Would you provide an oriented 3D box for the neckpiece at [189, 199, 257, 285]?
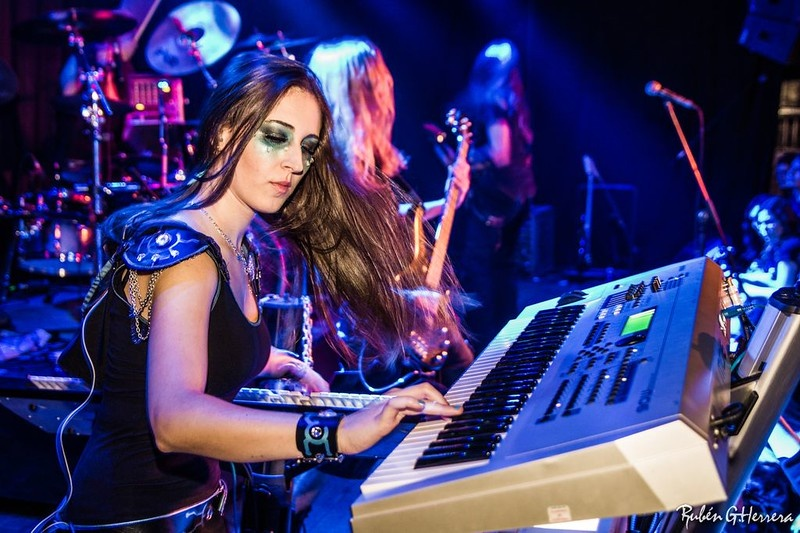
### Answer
[{"bbox_3d":[-0.751,-0.109,2.883,0.045,0.466,0.181,-30,29,7],"label":"neckpiece"}]

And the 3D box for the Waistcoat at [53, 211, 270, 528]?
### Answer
[{"bbox_3d":[-0.918,0.463,3.450,1.059,1.582,1.182,8,-1,-17],"label":"Waistcoat"}]

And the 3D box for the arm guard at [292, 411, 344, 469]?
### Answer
[{"bbox_3d":[-0.304,0.639,2.590,0.176,0.169,0.161,4,4,4],"label":"arm guard"}]
